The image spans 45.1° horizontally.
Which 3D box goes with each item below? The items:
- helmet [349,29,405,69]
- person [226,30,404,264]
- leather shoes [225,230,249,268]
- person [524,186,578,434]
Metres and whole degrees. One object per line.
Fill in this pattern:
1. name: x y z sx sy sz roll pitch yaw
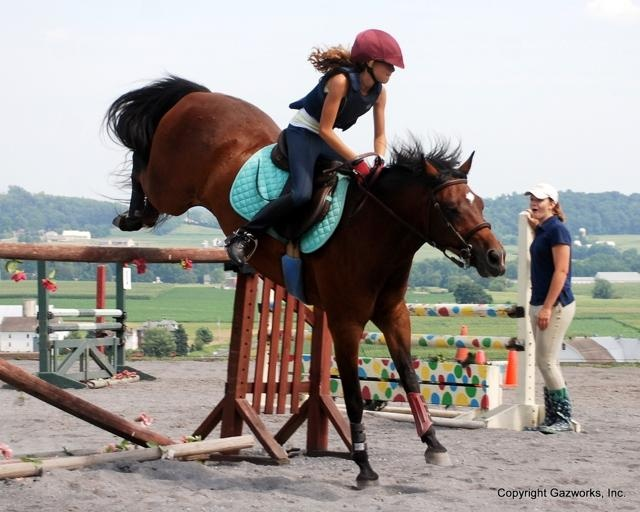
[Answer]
1. helmet: 0.377 -1.363 4.984 0.420 0.177 0.291 22 31 30
2. person: -0.052 -0.707 5.064 1.107 1.505 0.476 0 0 -5
3. leather shoes: -0.541 -0.043 4.908 0.124 0.233 0.122 -17 3 -17
4. person: 2.051 0.465 6.844 0.453 2.227 0.733 0 -1 13
